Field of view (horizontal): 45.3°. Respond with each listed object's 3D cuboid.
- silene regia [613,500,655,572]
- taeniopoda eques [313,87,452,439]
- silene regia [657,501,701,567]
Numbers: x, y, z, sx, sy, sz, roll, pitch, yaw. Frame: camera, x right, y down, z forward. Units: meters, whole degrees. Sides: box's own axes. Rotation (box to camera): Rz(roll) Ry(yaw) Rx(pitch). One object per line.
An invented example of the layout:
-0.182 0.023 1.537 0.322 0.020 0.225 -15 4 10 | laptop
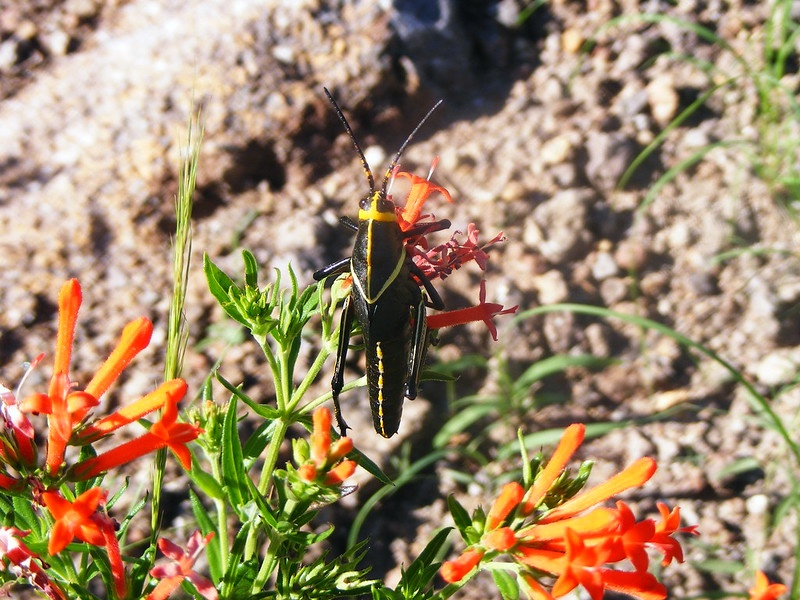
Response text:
1.064 1.079 4.436 0.176 0.160 0.308 -7 98 -4 | silene regia
-0.069 -0.186 5.057 0.710 0.764 1.746 -1 89 0 | taeniopoda eques
1.268 1.082 4.530 0.188 0.200 0.388 0 110 -4 | silene regia
